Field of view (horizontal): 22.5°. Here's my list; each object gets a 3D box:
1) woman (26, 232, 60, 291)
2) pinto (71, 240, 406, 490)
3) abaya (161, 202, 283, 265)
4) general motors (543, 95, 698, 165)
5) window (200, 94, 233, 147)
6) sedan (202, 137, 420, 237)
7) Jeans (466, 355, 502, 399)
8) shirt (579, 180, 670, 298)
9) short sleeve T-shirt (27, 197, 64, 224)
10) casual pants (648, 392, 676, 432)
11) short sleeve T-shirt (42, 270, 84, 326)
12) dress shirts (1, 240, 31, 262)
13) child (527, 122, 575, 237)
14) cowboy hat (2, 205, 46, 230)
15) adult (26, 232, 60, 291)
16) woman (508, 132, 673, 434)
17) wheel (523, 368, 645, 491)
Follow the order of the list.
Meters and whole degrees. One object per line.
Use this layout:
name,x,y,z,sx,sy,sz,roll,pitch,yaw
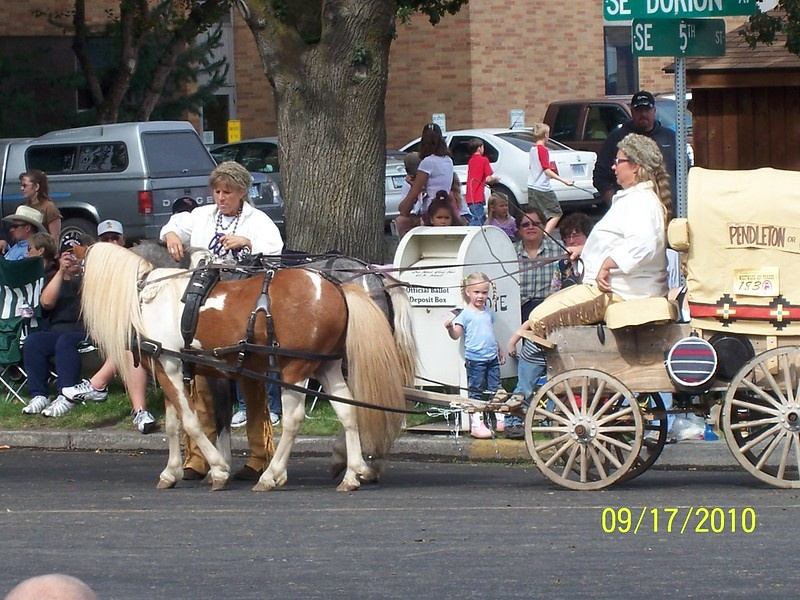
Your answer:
woman,-4.083,-0.523,23.127,0.411,0.677,0.374,12,28,10
pinto,-1.514,0.706,19.669,3.736,2.372,1.056,0,-5,21
abaya,-1.818,-0.616,20.170,0.979,0.412,0.549,-1,-8,14
general motors,3.578,-2.867,33.657,1.409,1.251,2.475,-4,4,-40
window,-3.988,-3.827,43.380,1.130,1.135,1.076,-2,0,-8
sedan,-1.542,-1.660,31.006,3.239,1.291,1.530,8,12,38
Jeans,0.918,0.789,21.127,0.320,0.675,0.215,-7,39,-5
shirt,2.342,-0.405,19.531,0.984,1.144,1.376,3,-2,0
short sleeve T-shirt,-4.305,-1.044,24.614,0.558,0.486,0.286,-2,1,-6
casual pants,2.670,1.076,20.432,0.120,0.410,0.434,-4,12,-33
short sleeve T-shirt,-3.746,0.012,22.434,0.656,0.563,0.349,1,-3,8
dress shirts,-4.511,-0.551,23.639,0.143,0.236,0.255,33,-8,-35
child,2.227,-1.552,29.035,0.746,1.909,0.647,-8,10,-33
cowboy hat,-4.447,-0.929,23.829,0.409,0.145,0.337,15,-8,-23
adult,-4.093,-0.506,23.099,0.382,0.646,0.360,-9,29,-30
woman,1.826,-0.220,19.440,1.745,2.452,1.188,-2,1,0
wheel,1.807,1.230,19.033,1.230,1.121,0.403,2,-4,10
